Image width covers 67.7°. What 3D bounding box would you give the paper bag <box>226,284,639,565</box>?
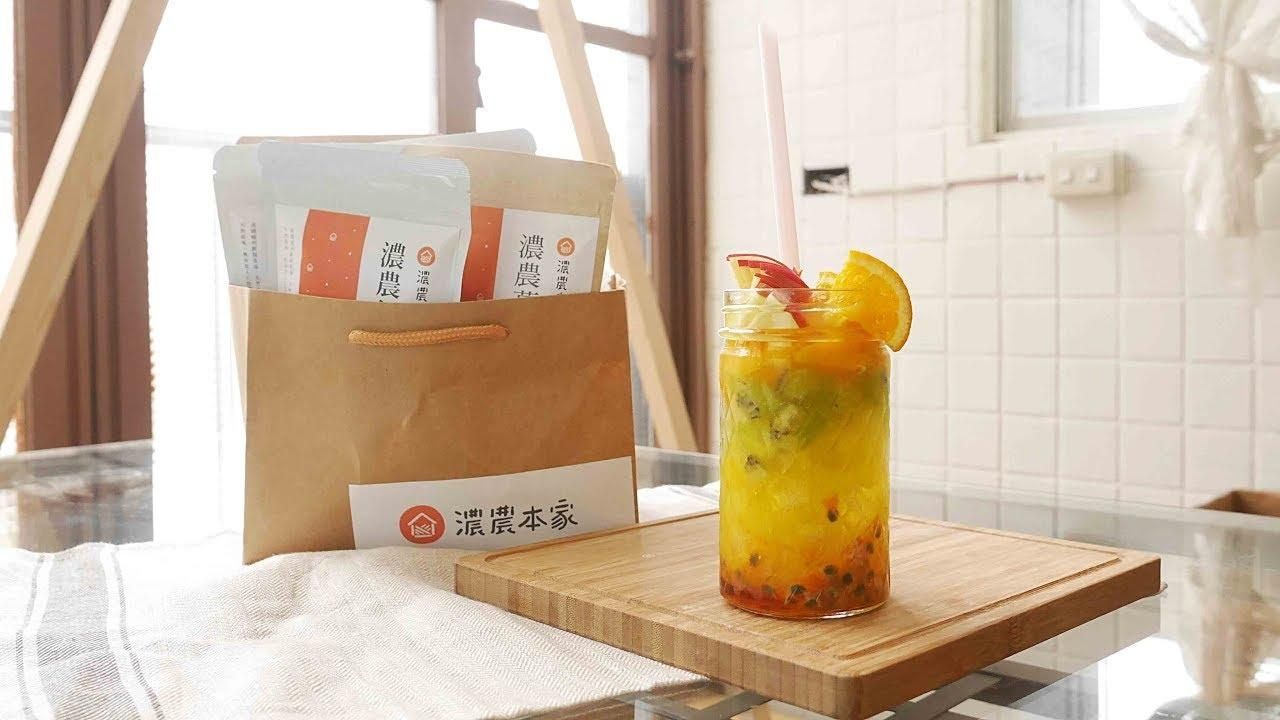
[{"bbox_3d":[-0.258,0.078,1.314,0.509,0.324,0.166,-2,1,-1],"label":"paper bag"}]

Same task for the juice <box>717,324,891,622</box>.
[{"bbox_3d":[0.187,0.127,1.096,0.190,0.326,0.078,-3,3,11],"label":"juice"}]
